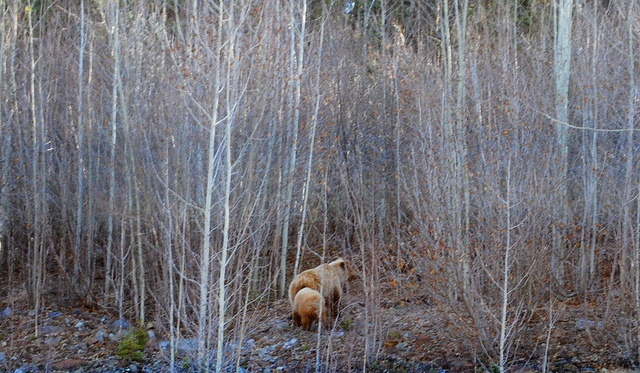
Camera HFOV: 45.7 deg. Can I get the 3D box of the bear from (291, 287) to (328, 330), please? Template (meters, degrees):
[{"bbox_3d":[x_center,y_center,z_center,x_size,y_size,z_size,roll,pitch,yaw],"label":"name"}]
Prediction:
[{"bbox_3d":[-0.196,3.131,19.463,0.717,1.121,1.430,-6,10,-23],"label":"bear"}]

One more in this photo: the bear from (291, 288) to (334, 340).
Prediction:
[{"bbox_3d":[-0.227,3.140,19.609,0.733,1.147,1.711,-9,7,-23],"label":"bear"}]
